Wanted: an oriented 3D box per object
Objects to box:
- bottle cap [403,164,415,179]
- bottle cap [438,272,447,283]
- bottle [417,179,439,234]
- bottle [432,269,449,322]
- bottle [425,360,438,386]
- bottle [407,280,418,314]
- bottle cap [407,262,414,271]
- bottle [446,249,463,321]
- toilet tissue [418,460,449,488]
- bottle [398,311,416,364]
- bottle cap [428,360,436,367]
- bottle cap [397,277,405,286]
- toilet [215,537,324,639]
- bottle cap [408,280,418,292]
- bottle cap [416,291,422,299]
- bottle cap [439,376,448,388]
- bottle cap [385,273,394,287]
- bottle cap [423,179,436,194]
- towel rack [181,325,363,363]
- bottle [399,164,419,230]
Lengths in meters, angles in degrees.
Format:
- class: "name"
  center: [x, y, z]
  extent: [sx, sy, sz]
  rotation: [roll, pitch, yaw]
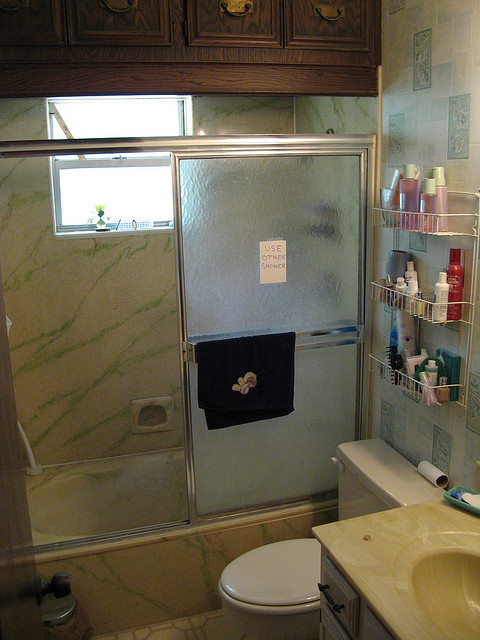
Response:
- class: "bottle cap"
  center: [0.556, -0.488, 1.615]
  extent: [0.044, 0.056, 0.046]
  rotation: [9, 17, 29]
- class: "bottle cap"
  center: [0.612, -0.129, 1.487]
  extent: [0.025, 0.033, 0.027]
  rotation: [8, 18, 27]
- class: "bottle"
  center: [0.582, -0.348, 1.499]
  extent: [0.054, 0.162, 0.112]
  rotation: [3, 11, 11]
- class: "bottle"
  center: [0.625, -0.071, 1.523]
  extent: [0.046, 0.155, 0.081]
  rotation: [6, 12, 27]
- class: "bottle"
  center: [0.630, 0.177, 1.621]
  extent: [0.047, 0.083, 0.035]
  rotation: [-9, 14, -42]
- class: "bottle"
  center: [0.573, -0.077, 1.635]
  extent: [0.032, 0.099, 0.065]
  rotation: [4, 11, 19]
- class: "bottle cap"
  center: [0.595, -0.188, 1.719]
  extent: [0.020, 0.026, 0.022]
  rotation: [-8, 17, -13]
- class: "bottle"
  center: [0.661, -0.108, 1.512]
  extent: [0.053, 0.217, 0.042]
  rotation: [6, 12, 27]
- class: "toilet tissue"
  center: [0.686, 0.552, 1.742]
  extent: [0.070, 0.075, 0.114]
  rotation: [-2, 12, -14]
- class: "bottle"
  center: [0.611, 0.062, 1.798]
  extent: [0.073, 0.190, 0.049]
  rotation: [3, 11, 15]
- class: "bottle cap"
  center: [0.633, 0.144, 1.625]
  extent: [0.020, 0.019, 0.032]
  rotation: [5, 13, 21]
- class: "bottle cap"
  center: [0.557, -0.131, 1.702]
  extent: [0.024, 0.028, 0.026]
  rotation: [1, 32, 13]
- class: "toilet"
  center: [0.115, 0.986, 1.818]
  extent: [0.359, 0.231, 0.405]
  rotation: [2, 12, 7]
- class: "bottle cap"
  center: [0.579, -0.113, 1.647]
  extent: [0.031, 0.040, 0.032]
  rotation: [5, 7, 25]
- class: "bottle cap"
  center: [0.601, -0.084, 1.652]
  extent: [0.020, 0.042, 0.024]
  rotation: [2, 8, 10]
- class: "bottle cap"
  center: [0.662, 0.208, 1.602]
  extent: [0.022, 0.048, 0.024]
  rotation: [0, 6, 0]
- class: "bottle cap"
  center: [0.560, -0.149, 1.833]
  extent: [0.015, 0.051, 0.044]
  rotation: [-3, 12, -18]
- class: "bottle cap"
  center: [0.578, -0.410, 1.509]
  extent: [0.037, 0.049, 0.040]
  rotation: [5, 11, 17]
- class: "towel rack"
  center: [0.159, 0.095, 2.065]
  extent: [0.819, 0.104, 0.041]
  rotation: [-4, 11, -20]
- class: "bottle"
  center: [0.557, -0.405, 1.605]
  extent: [0.060, 0.213, 0.194]
  rotation: [3, 11, 13]
